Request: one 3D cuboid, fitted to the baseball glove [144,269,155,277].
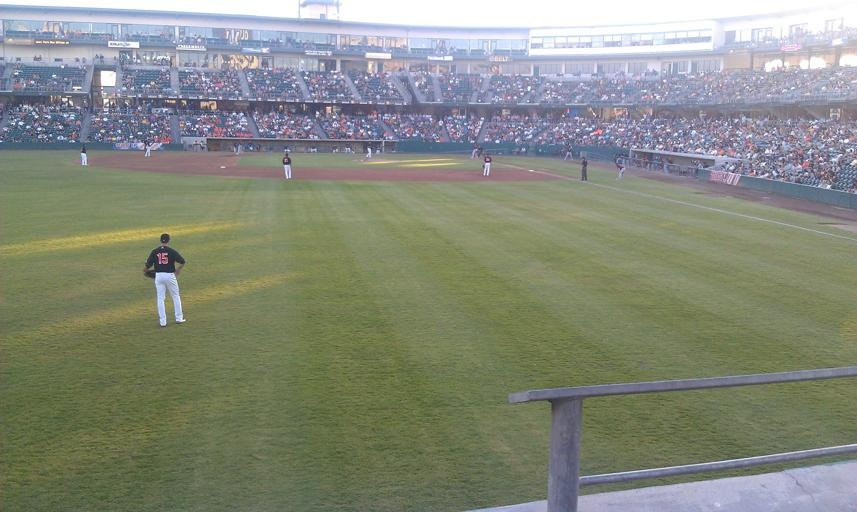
[{"bbox_3d":[-7.242,0.432,19.178,0.366,0.129,0.274,12,6,43],"label":"baseball glove"}]
